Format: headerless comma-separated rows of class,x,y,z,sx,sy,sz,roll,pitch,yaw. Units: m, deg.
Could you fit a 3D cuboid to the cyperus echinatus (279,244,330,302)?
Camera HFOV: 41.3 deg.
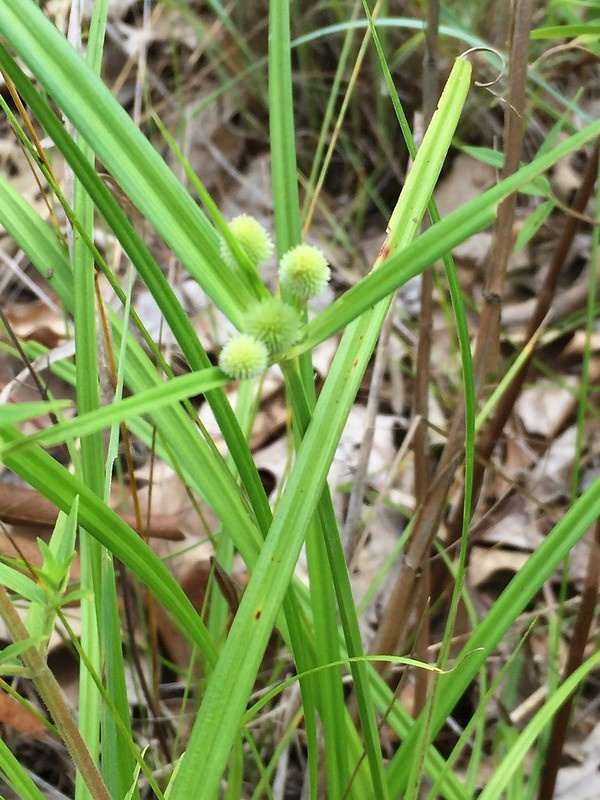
cyperus echinatus,0.008,-0.106,0.653,0.042,0.047,0.043,0,13,3

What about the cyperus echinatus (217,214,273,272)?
cyperus echinatus,-0.046,-0.139,0.678,0.045,0.029,0.048,-14,77,-27

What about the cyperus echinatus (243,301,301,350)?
cyperus echinatus,-0.020,-0.057,0.596,0.036,0.038,0.038,-15,1,-13

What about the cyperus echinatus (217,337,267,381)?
cyperus echinatus,-0.047,-0.026,0.619,0.033,0.031,0.033,16,71,-33
